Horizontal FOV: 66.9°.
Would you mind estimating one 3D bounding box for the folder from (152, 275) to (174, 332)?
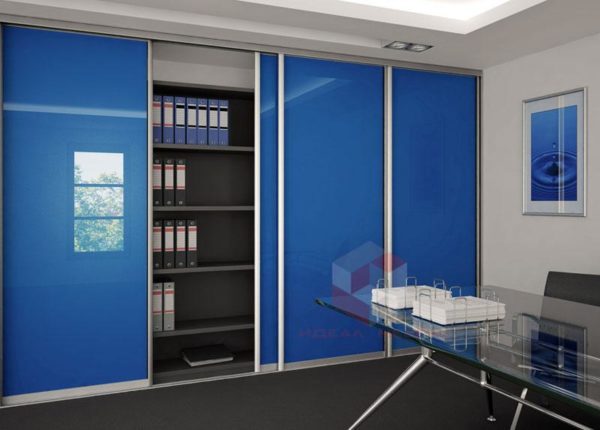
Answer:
[{"bbox_3d":[-1.255,0.850,4.188,0.194,0.440,0.186,-3,10,-17],"label":"folder"}]

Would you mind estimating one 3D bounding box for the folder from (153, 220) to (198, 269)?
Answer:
[{"bbox_3d":[-1.167,0.270,4.249,0.402,0.442,0.115,-4,10,-20],"label":"folder"}]

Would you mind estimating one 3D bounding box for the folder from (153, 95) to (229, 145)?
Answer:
[{"bbox_3d":[-1.025,-0.888,4.304,0.699,0.451,0.130,-3,10,-15],"label":"folder"}]

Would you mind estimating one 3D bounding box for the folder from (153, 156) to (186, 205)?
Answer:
[{"bbox_3d":[-1.216,-0.305,4.231,0.295,0.432,0.091,-3,10,-18],"label":"folder"}]

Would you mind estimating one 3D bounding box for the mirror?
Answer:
[{"bbox_3d":[-1.727,-0.098,3.927,0.512,0.988,0.039,0,18,-24],"label":"mirror"}]
